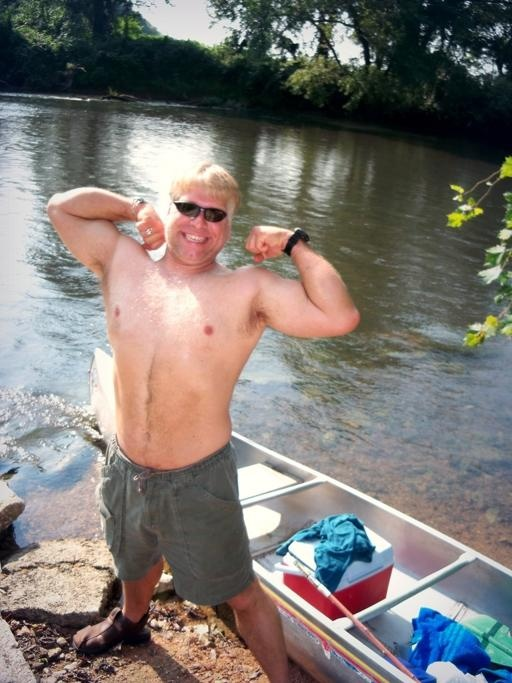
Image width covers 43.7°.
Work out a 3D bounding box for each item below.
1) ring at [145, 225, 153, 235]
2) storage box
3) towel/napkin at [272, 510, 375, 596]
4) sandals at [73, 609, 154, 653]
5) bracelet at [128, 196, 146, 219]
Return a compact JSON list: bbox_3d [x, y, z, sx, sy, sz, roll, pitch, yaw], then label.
[{"bbox_3d":[-0.457,-0.471,2.713,0.027,0.028,0.012,1,-2,6],"label":"ring"},{"bbox_3d":[0.429,1.272,3.603,0.601,0.410,0.562,3,18,2],"label":"storage box"},{"bbox_3d":[0.404,1.088,3.549,0.593,0.272,0.562,-5,14,-31],"label":"towel/napkin"},{"bbox_3d":[-0.677,1.357,3.077,0.376,0.138,0.174,0,8,-36],"label":"sandals"},{"bbox_3d":[-0.517,-0.583,2.757,0.080,0.086,0.048,1,-7,10],"label":"bracelet"}]
